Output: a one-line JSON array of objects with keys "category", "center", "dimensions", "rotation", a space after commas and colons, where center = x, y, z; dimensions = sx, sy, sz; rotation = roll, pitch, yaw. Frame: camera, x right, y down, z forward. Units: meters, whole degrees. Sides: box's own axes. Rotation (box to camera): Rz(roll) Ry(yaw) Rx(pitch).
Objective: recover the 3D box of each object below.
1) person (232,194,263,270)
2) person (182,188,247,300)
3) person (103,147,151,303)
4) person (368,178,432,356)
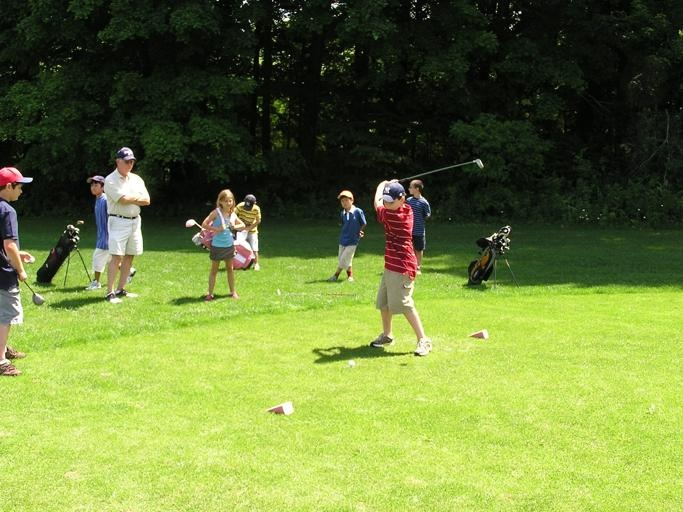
[{"category": "person", "center": [-2.200, -0.535, 20.206], "dimensions": [0.771, 1.713, 0.630], "rotation": [3, 9, -3]}, {"category": "person", "center": [-2.269, -0.225, 16.537], "dimensions": [1.011, 1.971, 0.671], "rotation": [2, 1, -11]}, {"category": "person", "center": [-4.083, -0.564, 16.251], "dimensions": [0.802, 2.749, 0.955], "rotation": [4, 6, 18]}, {"category": "person", "center": [0.902, 0.121, 13.679], "dimensions": [1.171, 2.440, 0.820], "rotation": [0, 1, -8]}]
